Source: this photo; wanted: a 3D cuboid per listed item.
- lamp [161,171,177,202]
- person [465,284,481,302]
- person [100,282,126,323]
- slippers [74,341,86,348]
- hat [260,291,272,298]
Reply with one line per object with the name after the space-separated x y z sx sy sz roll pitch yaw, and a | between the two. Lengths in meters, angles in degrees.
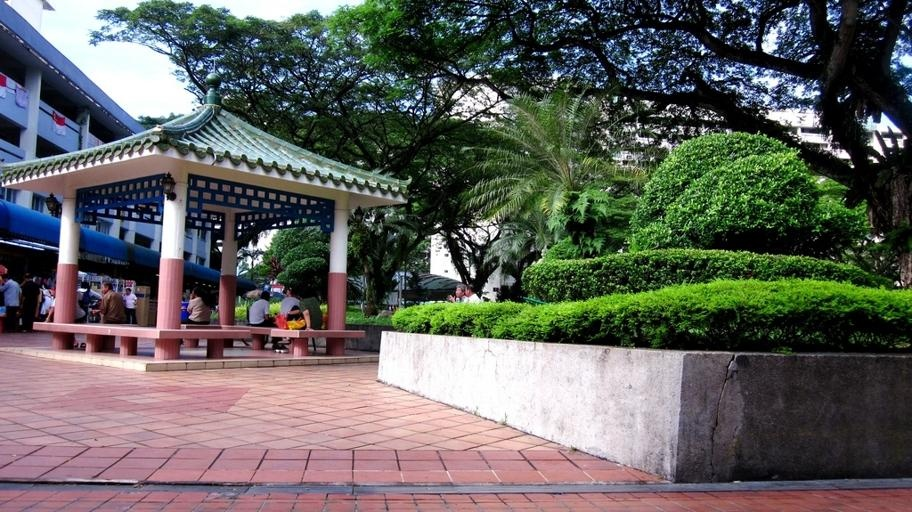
-6.649 -1.592 15.412 0.309 0.632 0.327 -6 17 -26 | lamp
0.520 1.188 20.912 0.401 0.485 0.834 -4 -9 24 | person
-9.352 1.410 18.049 0.553 1.124 1.192 -7 17 -28 | person
-10.142 2.422 17.970 0.228 0.114 0.298 2 -7 -11 | slippers
-5.229 1.086 18.359 0.330 0.270 0.308 3 -8 -20 | hat
